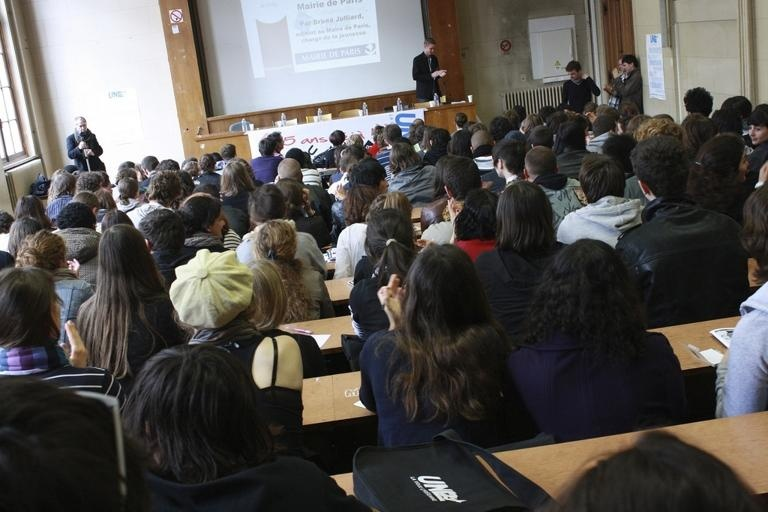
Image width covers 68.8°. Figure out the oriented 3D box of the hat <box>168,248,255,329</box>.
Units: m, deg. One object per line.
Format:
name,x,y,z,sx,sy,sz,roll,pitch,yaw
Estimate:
hat,-0.622,0.114,2.041,0.291,0.250,0.249,-13,14,-22
